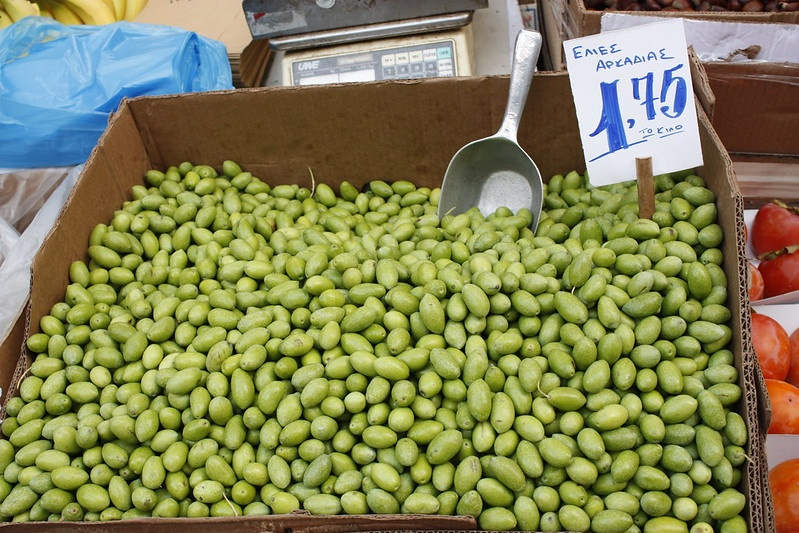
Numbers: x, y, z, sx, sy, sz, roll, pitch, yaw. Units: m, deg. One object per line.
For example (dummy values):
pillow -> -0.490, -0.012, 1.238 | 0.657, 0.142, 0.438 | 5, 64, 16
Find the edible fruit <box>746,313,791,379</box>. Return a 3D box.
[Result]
edible fruit -> 2.117, 0.495, 4.128 | 0.214, 0.452, 0.264 | 3, 21, 26

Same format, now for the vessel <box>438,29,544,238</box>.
vessel -> 0.706, -0.753, 4.592 | 0.627, 1.707, 0.235 | -10, 54, -14
